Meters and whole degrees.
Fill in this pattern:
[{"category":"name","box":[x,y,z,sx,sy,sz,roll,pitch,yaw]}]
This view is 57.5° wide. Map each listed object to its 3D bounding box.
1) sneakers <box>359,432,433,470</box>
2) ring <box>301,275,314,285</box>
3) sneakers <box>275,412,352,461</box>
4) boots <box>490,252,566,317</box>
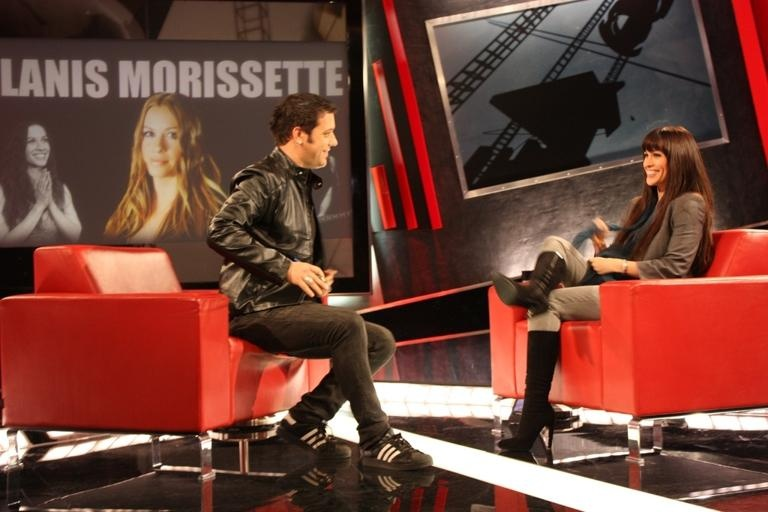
[{"category":"sneakers","box":[0.059,0.891,3.215,0.379,0.163,0.166,-7,-19,36]},{"category":"ring","box":[-0.350,0.106,3.189,0.035,0.039,0.011,-6,-10,-5]},{"category":"sneakers","box":[-0.304,0.853,3.388,0.411,0.164,0.148,15,13,16]},{"category":"boots","box":[0.715,0.083,3.501,0.314,0.319,0.173,30,0,-14]}]
